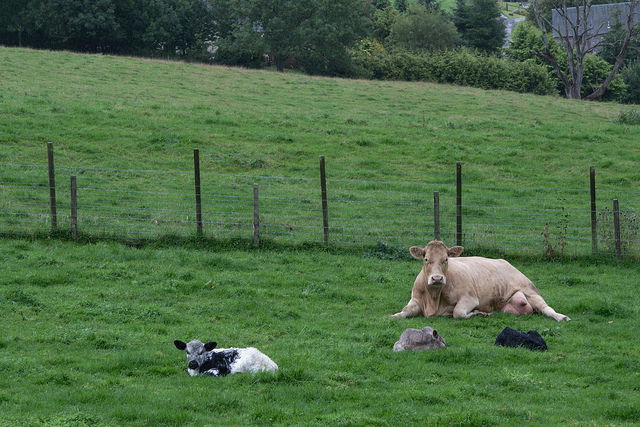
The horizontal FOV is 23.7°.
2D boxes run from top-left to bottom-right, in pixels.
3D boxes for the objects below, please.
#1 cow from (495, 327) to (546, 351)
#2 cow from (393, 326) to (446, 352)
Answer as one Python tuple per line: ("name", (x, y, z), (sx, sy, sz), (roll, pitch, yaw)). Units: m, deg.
("cow", (12.943, 7.786, 99.531), (2.210, 0.950, 1.486), (3, -2, 7))
("cow", (6.422, 7.970, 99.546), (2.405, 1.053, 1.691), (-3, 6, -7))
